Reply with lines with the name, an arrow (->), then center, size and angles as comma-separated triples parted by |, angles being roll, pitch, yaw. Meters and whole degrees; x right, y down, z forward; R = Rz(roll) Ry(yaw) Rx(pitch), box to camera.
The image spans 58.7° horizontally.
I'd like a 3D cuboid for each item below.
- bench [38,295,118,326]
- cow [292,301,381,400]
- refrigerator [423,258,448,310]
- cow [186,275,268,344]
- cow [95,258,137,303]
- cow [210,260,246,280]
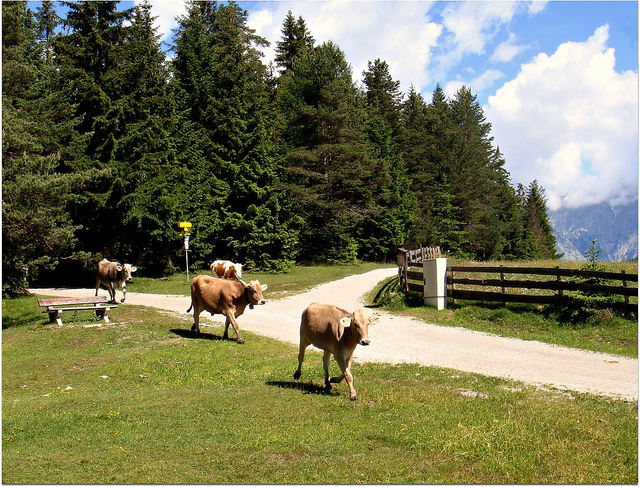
bench -> -10.507, 2.824, 24.516 | 2.704, 1.163, 2.635 | 12, 17, 42
cow -> 0.449, 3.267, 17.637 | 1.093, 2.707, 4.079 | 0, 0, -28
refrigerator -> 5.725, 2.013, 28.276 | 1.287, 2.557, 0.924 | 4, 12, 20
cow -> -3.661, 2.580, 22.638 | 3.491, 2.512, 1.111 | 3, 2, 26
cow -> -10.531, 1.903, 29.101 | 3.364, 2.110, 1.012 | 3, 1, 44
cow -> -4.502, 1.380, 29.243 | 0.777, 1.247, 2.237 | -5, 3, -44
